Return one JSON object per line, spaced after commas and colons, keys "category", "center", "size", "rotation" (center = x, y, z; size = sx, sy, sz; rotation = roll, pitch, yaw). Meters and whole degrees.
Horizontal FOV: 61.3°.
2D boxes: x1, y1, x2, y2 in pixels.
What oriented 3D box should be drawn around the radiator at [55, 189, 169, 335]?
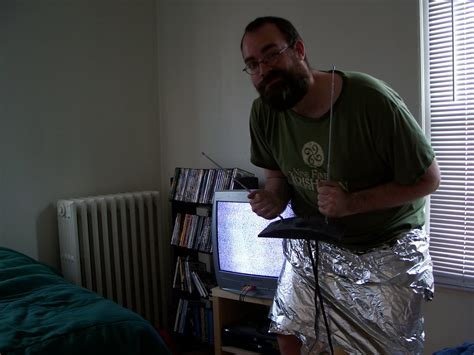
{"category": "radiator", "center": [-0.999, 0.521, 3.128], "size": [0.582, 0.988, 0.265], "rotation": [-8, 30, -30]}
